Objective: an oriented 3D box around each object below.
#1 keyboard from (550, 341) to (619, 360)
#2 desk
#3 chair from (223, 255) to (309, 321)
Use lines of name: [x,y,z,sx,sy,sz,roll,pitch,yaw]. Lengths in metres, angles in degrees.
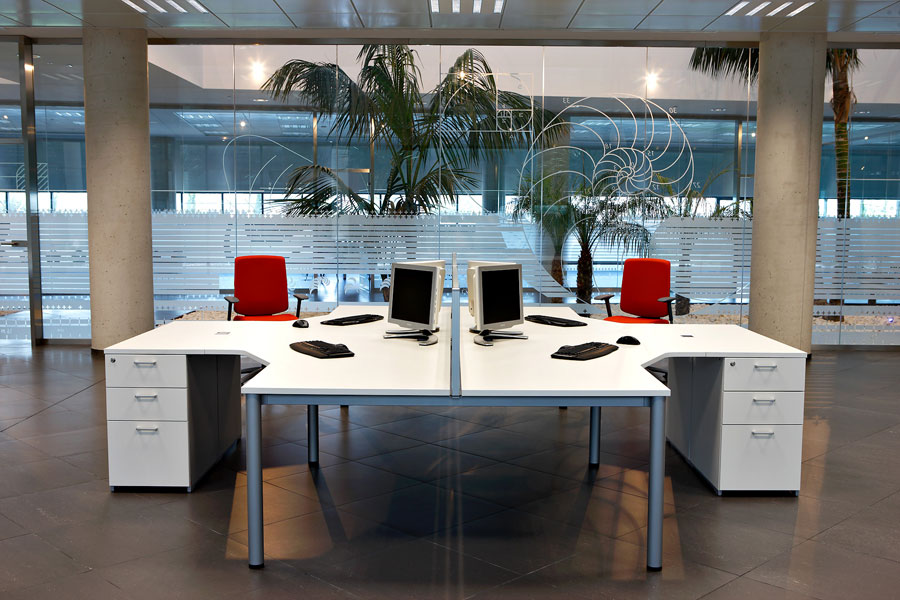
keyboard: [1.040,0.388,5.556,0.367,0.075,0.544,2,7,34]
desk: [0.052,0.858,5.563,5.300,1.776,1.743,-2,6,0]
chair: [-2.039,0.116,7.920,0.795,1.014,0.714,0,-11,-26]
